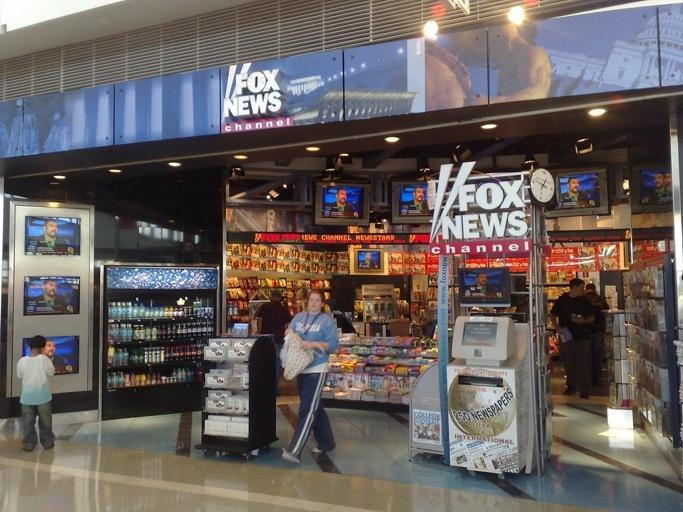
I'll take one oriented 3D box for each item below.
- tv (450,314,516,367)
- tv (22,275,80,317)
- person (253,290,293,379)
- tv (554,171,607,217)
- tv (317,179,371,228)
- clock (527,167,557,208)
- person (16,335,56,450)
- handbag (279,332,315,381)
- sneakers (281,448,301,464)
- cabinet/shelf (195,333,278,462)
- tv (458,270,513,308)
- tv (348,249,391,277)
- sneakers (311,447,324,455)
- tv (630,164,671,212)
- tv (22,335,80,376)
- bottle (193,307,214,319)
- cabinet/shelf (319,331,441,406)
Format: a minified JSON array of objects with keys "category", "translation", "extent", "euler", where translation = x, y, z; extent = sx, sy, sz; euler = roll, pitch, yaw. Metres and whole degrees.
[{"category":"tv","translation":[1.758,0.941,8.401],"extent":[0.731,0.687,0.570],"euler":[-1,-3,28]},{"category":"tv","translation":[-4.503,0.622,10.450],"extent":[0.605,0.528,0.079],"euler":[3,-7,-24]},{"category":"person","translation":[-1.241,1.449,12.506],"extent":[0.699,1.850,0.533],"euler":[6,31,-2]},{"category":"tv","translation":[4.375,-1.144,12.343],"extent":[0.837,0.760,0.114],"euler":[0,-1,20]},{"category":"tv","translation":[0.032,-1.035,13.138],"extent":[0.853,0.666,0.123],"euler":[1,-3,-5]},{"category":"clock","translation":[2.474,-0.842,8.342],"extent":[0.514,0.459,0.149],"euler":[-9,13,-40]},{"category":"person","translation":[-4.154,1.840,9.258],"extent":[0.465,1.495,0.630],"euler":[-5,11,-25]},{"category":"handbag","translation":[-0.552,1.270,8.554],"extent":[0.385,0.578,0.331],"euler":[-4,10,-18]},{"category":"sneakers","translation":[-0.635,2.516,8.503],"extent":[0.269,0.172,0.112],"euler":[5,12,29]},{"category":"cabinet/shelf","translation":[-1.383,1.824,9.122],"extent":[0.851,1.530,0.902],"euler":[-4,-6,36]},{"category":"tv","translation":[1.797,0.407,8.526],"extent":[0.457,0.358,0.061],"euler":[-1,-9,26]},{"category":"tv","translation":[0.639,0.134,16.220],"extent":[1.006,0.715,0.557],"euler":[0,-6,-2]},{"category":"sneakers","translation":[-0.319,2.534,8.812],"extent":[0.122,0.051,0.069],"euler":[-4,-3,29]},{"category":"tv","translation":[4.432,-0.976,9.696],"extent":[0.351,0.688,0.654],"euler":[-3,7,-15]},{"category":"tv","translation":[-4.261,1.456,9.905],"extent":[0.744,0.652,0.079],"euler":[1,-10,-21]},{"category":"bottle","translation":[-2.277,0.935,11.310],"extent":[0.328,0.232,0.176],"euler":[0,1,-31]},{"category":"cabinet/shelf","translation":[0.581,1.746,10.177],"extent":[1.378,0.844,0.427],"euler":[1,-18,22]}]
